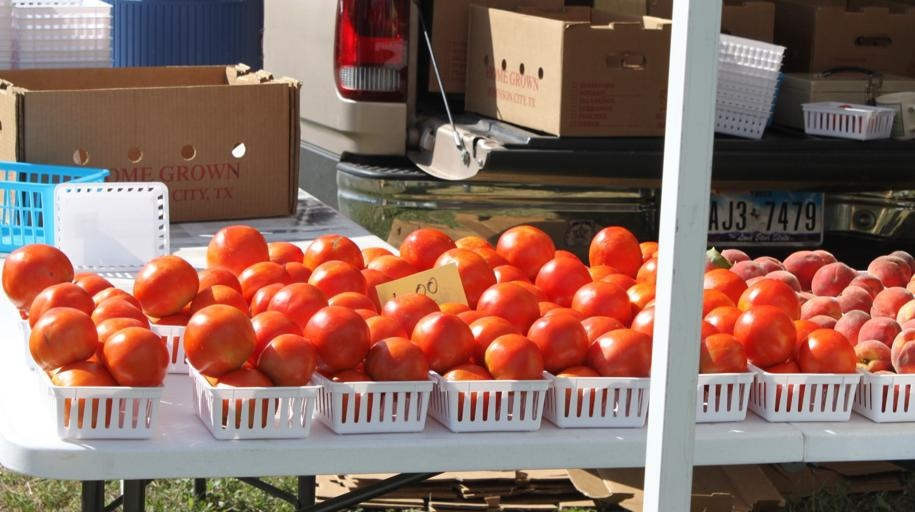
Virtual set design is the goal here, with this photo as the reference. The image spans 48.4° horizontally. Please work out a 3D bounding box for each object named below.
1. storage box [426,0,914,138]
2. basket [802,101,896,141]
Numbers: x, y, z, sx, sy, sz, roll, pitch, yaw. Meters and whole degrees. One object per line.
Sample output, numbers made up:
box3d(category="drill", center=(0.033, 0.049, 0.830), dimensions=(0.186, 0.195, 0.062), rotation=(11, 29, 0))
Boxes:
box3d(category="storage box", center=(0.899, -0.911, 5.277), dimensions=(1.189, 0.382, 1.376), rotation=(4, 15, -11))
box3d(category="basket", center=(2.095, -0.763, 5.502), dimensions=(0.341, 0.128, 0.247), rotation=(8, 14, 28))
